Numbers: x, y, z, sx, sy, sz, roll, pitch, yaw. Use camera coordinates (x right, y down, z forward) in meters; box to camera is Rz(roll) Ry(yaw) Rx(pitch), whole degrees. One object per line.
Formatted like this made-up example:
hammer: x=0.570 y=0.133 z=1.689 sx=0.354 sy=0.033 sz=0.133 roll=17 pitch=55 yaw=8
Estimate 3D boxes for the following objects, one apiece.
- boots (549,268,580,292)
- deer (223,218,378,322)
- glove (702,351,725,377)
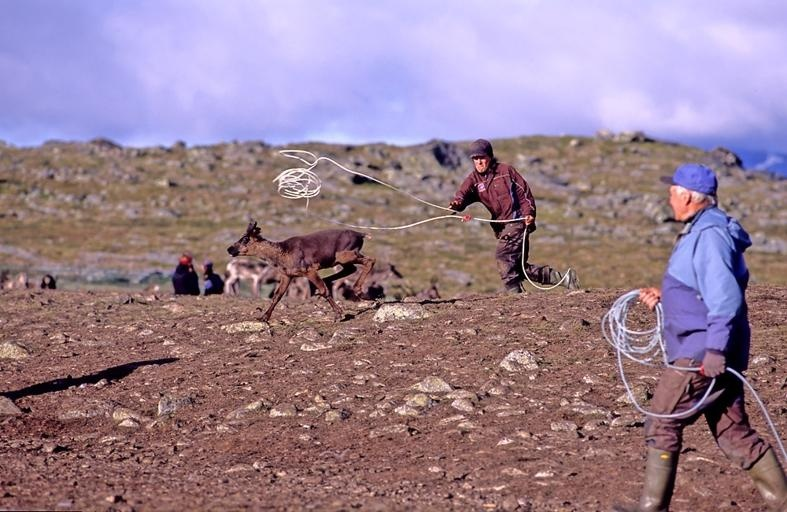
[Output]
boots: x=4.161 y=0.552 z=33.657 sx=0.730 sy=0.337 sz=0.543 roll=4 pitch=0 yaw=21
deer: x=-2.067 y=0.374 z=32.964 sx=3.097 sy=2.351 sz=1.192 roll=3 pitch=12 yaw=-2
glove: x=6.413 y=2.139 z=27.503 sx=0.416 sy=0.500 sz=0.233 roll=-2 pitch=2 yaw=14
